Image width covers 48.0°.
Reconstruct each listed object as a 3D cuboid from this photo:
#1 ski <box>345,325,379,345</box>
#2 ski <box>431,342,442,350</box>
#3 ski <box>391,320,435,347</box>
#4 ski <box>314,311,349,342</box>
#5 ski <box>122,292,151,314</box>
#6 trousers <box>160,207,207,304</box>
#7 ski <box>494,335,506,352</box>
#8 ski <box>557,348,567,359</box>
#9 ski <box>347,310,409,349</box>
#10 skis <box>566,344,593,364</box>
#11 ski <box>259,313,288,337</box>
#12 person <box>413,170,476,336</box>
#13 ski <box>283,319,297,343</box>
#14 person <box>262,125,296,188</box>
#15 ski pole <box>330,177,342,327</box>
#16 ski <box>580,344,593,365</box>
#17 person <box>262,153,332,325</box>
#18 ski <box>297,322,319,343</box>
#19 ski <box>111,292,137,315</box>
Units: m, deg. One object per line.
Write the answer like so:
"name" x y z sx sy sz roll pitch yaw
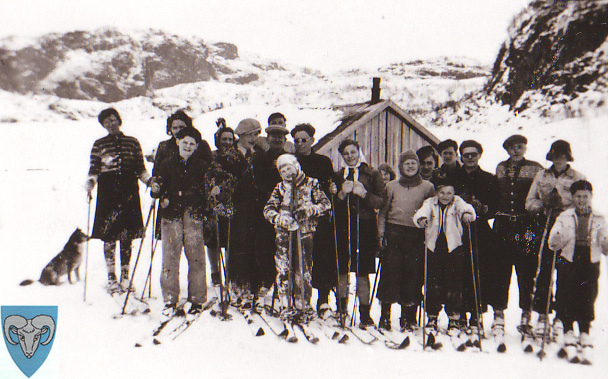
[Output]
"ski" 0.914 2.138 10.308 0.205 0.076 0.401 -20 47 -40
"ski" 1.997 2.357 10.267 0.178 0.112 0.042 1 -1 -15
"ski" 1.673 2.209 10.413 0.574 0.294 0.151 35 -32 19
"ski" 0.418 2.106 10.382 0.151 0.301 0.394 12 33 -52
"ski" -2.550 1.802 10.657 0.253 0.064 0.243 42 3 24
"trousers" -1.879 0.934 10.523 0.692 1.880 0.452 2 25 -7
"ski" 2.957 2.324 10.305 0.164 0.234 0.083 1 -1 3
"ski" 3.853 2.464 10.224 0.100 0.118 0.026 1 -17 8
"ski" 1.220 2.156 10.250 0.558 0.123 0.276 38 53 23
"skis" 4.106 2.467 10.221 0.269 0.304 0.080 -1 -12 7
"ski" -0.447 2.087 10.371 0.206 0.493 0.055 -38 -20 -12
"person" 2.096 1.017 10.241 0.777 2.378 0.284 0 -1 10
"ski" -0.200 2.161 10.292 0.106 0.375 0.097 -15 -16 -1
"person" -0.390 -0.466 10.393 0.835 0.988 0.328 -1 -7 -3
"ski pole" 0.495 0.874 10.425 0.026 2.290 0.032 -2 -4 6
"ski" 4.215 2.465 10.216 0.184 0.279 0.042 1 -1 2
"person" -0.122 0.768 10.281 0.901 2.547 0.382 1 -1 -1
"ski" 0.065 2.157 10.288 0.137 0.447 0.119 -20 -31 -14
"ski" -2.780 1.782 10.684 0.215 0.055 0.603 -34 58 -21
